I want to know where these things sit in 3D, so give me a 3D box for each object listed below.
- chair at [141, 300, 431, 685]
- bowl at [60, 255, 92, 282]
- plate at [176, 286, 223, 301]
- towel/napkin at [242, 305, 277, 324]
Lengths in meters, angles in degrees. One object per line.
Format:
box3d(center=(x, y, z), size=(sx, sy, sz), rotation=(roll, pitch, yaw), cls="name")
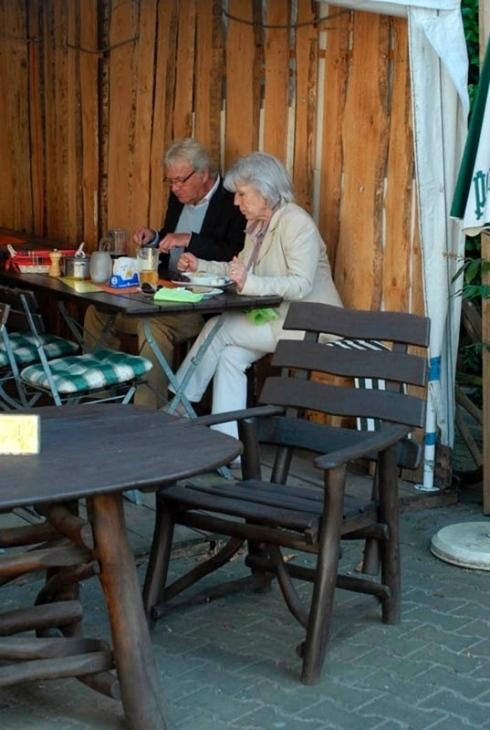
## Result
box3d(center=(0.132, 0.338, 1.987), size=(0.895, 0.968, 0.887), rotation=(0, 5, -2), cls="chair")
box3d(center=(-0.956, -0.549, 3.678), size=(0.151, 0.131, 0.151), rotation=(1, 8, 0), cls="bowl")
box3d(center=(-0.233, -0.346, 3.185), size=(0.228, 0.078, 0.369), rotation=(1, 4, 0), cls="plate")
box3d(center=(0.093, -0.265, 3.485), size=(0.104, 0.042, 0.105), rotation=(-9, 23, -20), cls="towel/napkin")
